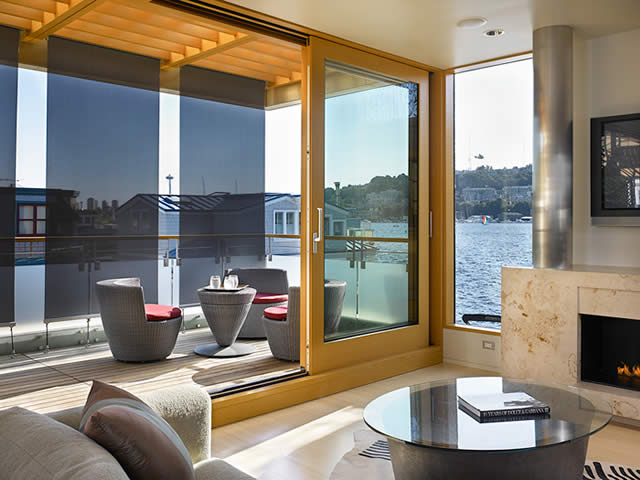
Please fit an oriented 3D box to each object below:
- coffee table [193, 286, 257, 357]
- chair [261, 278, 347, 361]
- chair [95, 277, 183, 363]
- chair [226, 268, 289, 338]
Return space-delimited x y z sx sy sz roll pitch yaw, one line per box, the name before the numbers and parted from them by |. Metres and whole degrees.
coffee table | -1.052 0.874 5.225 0.718 0.640 0.741 1 1 20
chair | -0.135 0.840 4.813 0.941 0.829 0.791 1 -2 26
chair | -1.993 0.821 5.053 0.840 0.803 0.918 1 -2 -13
chair | -0.795 0.824 6.048 0.826 0.836 0.837 1 -8 4
